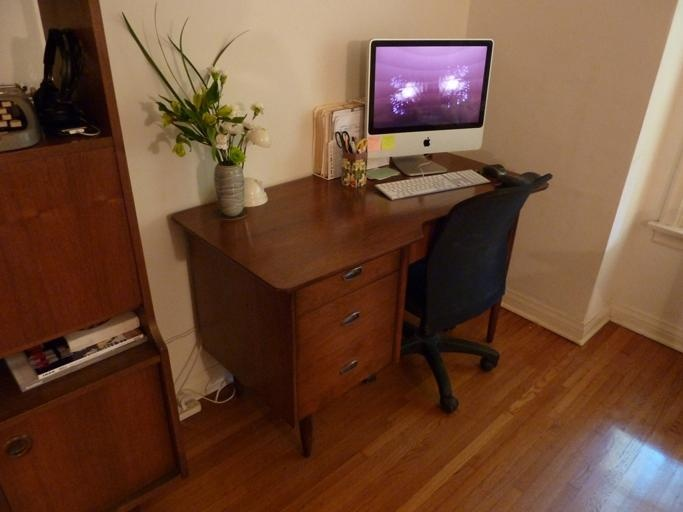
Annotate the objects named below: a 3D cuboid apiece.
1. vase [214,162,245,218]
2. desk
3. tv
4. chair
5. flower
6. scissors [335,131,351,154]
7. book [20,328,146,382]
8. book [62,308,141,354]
[{"bbox_3d":[-0.435,-0.260,2.058,0.114,0.190,0.117,-3,21,-12],"label":"vase"},{"bbox_3d":[0.147,0.189,2.485,1.403,0.968,0.768,-24,35,-38],"label":"desk"},{"bbox_3d":[0.383,-0.696,2.411,0.585,0.573,0.188,-14,35,-25],"label":"tv"},{"bbox_3d":[0.621,0.178,2.417,0.578,0.983,0.697,-21,41,-26],"label":"chair"},{"bbox_3d":[-0.601,-0.567,1.968,0.330,0.407,0.429,6,6,25],"label":"flower"},{"bbox_3d":[0.012,-0.512,2.341,0.053,0.135,0.026,1,35,39],"label":"scissors"},{"bbox_3d":[-0.840,0.325,1.723,0.223,0.049,0.146,-28,40,-36],"label":"book"},{"bbox_3d":[-0.800,0.254,1.756,0.126,0.033,0.139,21,33,40],"label":"book"}]
